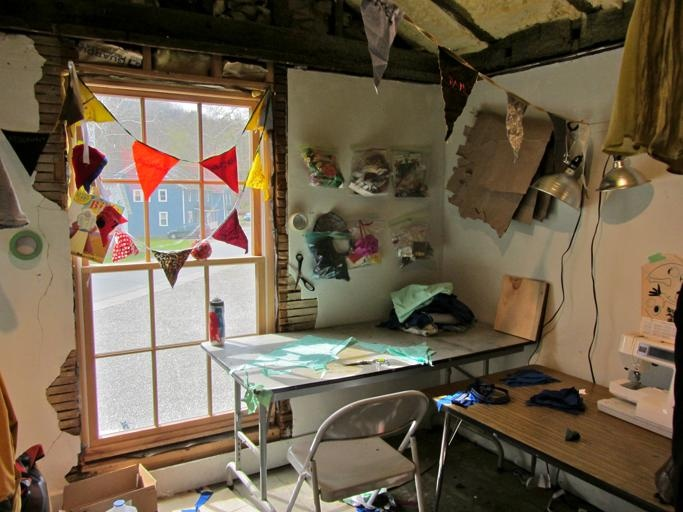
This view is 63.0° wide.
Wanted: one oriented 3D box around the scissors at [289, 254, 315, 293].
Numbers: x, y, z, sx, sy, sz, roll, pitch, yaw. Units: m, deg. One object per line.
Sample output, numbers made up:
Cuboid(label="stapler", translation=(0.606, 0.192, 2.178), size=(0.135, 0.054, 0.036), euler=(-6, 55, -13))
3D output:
Cuboid(label="scissors", translation=(-0.272, 0.117, 3.755), size=(0.183, 0.225, 0.020), euler=(-10, 13, -26))
